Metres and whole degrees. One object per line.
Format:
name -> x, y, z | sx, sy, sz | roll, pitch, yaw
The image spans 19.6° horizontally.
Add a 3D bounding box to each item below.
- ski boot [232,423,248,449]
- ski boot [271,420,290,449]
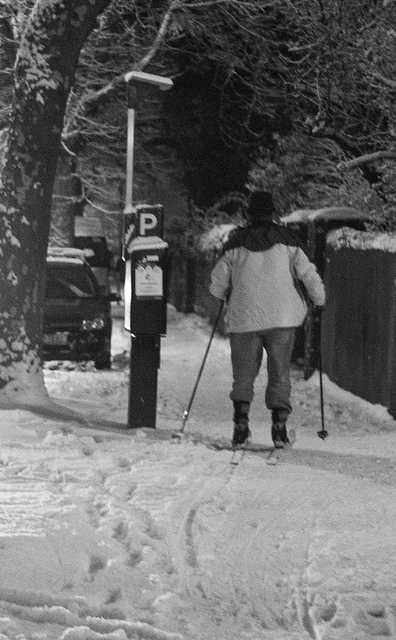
ski boot -> 0.277, 0.719, 7.339 | 0.091, 0.158, 0.101 | 4, 5, 1
ski boot -> 0.545, 0.732, 7.512 | 0.113, 0.241, 0.058 | -1, 3, 3
